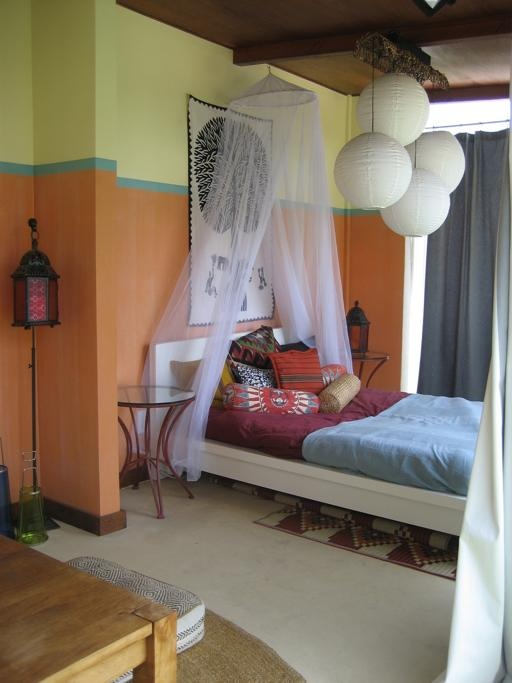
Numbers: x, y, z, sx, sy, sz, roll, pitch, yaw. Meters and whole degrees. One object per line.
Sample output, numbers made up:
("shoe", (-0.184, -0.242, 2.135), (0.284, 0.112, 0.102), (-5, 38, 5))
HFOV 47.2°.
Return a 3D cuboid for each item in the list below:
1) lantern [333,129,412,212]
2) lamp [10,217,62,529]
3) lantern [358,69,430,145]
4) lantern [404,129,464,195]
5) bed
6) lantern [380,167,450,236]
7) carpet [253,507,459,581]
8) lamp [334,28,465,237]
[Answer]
("lantern", (0.644, -0.901, 3.266), (0.403, 0.444, 0.424), (3, 7, 26))
("lamp", (-1.143, 0.186, 3.053), (0.228, 1.633, 0.466), (-1, 5, -23))
("lantern", (0.780, -1.239, 3.367), (0.413, 0.472, 0.416), (1, 5, 16))
("lantern", (1.119, -1.098, 3.756), (0.374, 0.420, 0.393), (-1, 1, 19))
("bed", (0.539, 0.460, 3.885), (2.076, 0.901, 1.414), (5, 5, 36))
("lantern", (0.905, -0.841, 3.574), (0.377, 0.429, 0.376), (-5, 9, -26))
("carpet", (0.533, 0.996, 3.113), (1.115, 0.122, 0.361), (5, 5, 35))
("lamp", (0.878, -1.177, 3.448), (0.379, 1.001, 1.029), (5, 5, 43))
